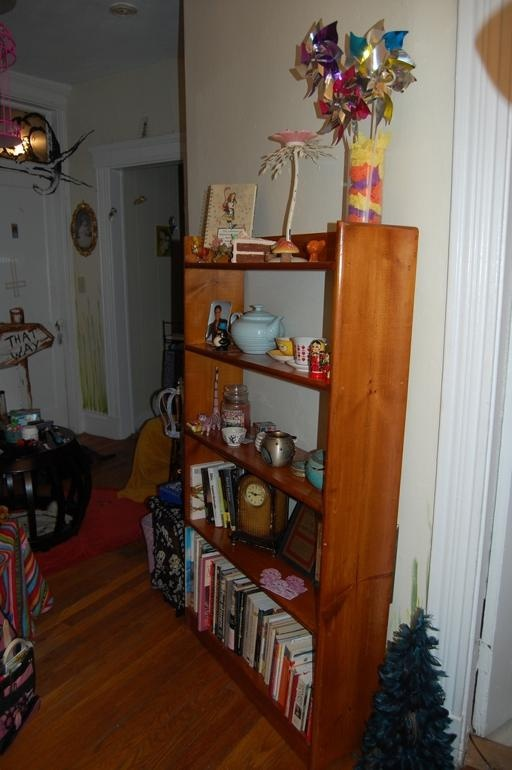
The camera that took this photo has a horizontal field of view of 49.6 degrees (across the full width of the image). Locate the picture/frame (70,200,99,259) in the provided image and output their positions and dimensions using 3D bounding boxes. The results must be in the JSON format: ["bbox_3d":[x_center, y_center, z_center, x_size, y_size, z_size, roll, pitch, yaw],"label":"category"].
[{"bbox_3d":[-1.294,-1.196,4.210,0.312,0.506,0.024,17,24,29],"label":"picture/frame"}]

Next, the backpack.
[{"bbox_3d":[-0.651,0.471,3.434,0.149,0.521,0.380,15,4,-32],"label":"backpack"}]

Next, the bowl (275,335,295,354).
[{"bbox_3d":[0.093,-0.126,1.658,0.042,0.039,0.049,0,1,3],"label":"bowl"}]

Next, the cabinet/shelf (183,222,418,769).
[{"bbox_3d":[0.074,0.265,1.788,0.330,1.494,0.945,-7,13,-30],"label":"cabinet/shelf"}]

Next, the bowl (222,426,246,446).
[{"bbox_3d":[-0.064,0.162,1.858,0.063,0.044,0.065,-1,4,0],"label":"bowl"}]

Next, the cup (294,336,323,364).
[{"bbox_3d":[0.139,-0.094,1.480,0.060,0.057,0.070,1,6,-3],"label":"cup"}]

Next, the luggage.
[{"bbox_3d":[-0.358,0.713,2.333,0.098,0.418,0.304,-6,12,-27],"label":"luggage"}]

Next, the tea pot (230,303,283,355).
[{"bbox_3d":[0.001,-0.164,1.778,0.134,0.142,0.194,-7,19,-30],"label":"tea pot"}]
